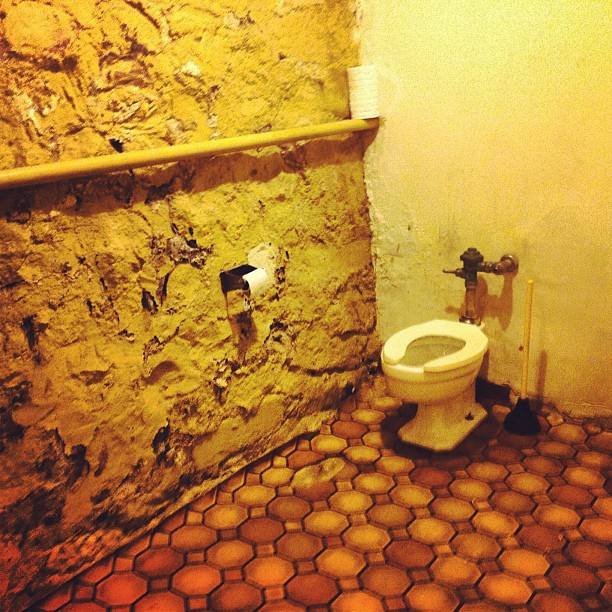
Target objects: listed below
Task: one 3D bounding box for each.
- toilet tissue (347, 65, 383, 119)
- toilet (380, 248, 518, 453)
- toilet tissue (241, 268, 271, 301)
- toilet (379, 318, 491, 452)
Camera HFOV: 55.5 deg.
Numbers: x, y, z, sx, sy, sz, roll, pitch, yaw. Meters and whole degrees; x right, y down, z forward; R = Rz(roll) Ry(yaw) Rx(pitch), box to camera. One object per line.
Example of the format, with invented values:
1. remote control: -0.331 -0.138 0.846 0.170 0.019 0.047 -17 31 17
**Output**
1. toilet tissue: 0.297 -0.974 2.639 0.131 0.223 0.145 -5 30 0
2. toilet: 0.618 0.190 2.584 0.717 0.802 0.391 -16 19 -40
3. toilet tissue: -0.184 -0.076 2.162 0.057 0.105 0.120 8 27 29
4. toilet: 0.596 0.369 2.595 0.404 0.447 0.561 9 20 43
